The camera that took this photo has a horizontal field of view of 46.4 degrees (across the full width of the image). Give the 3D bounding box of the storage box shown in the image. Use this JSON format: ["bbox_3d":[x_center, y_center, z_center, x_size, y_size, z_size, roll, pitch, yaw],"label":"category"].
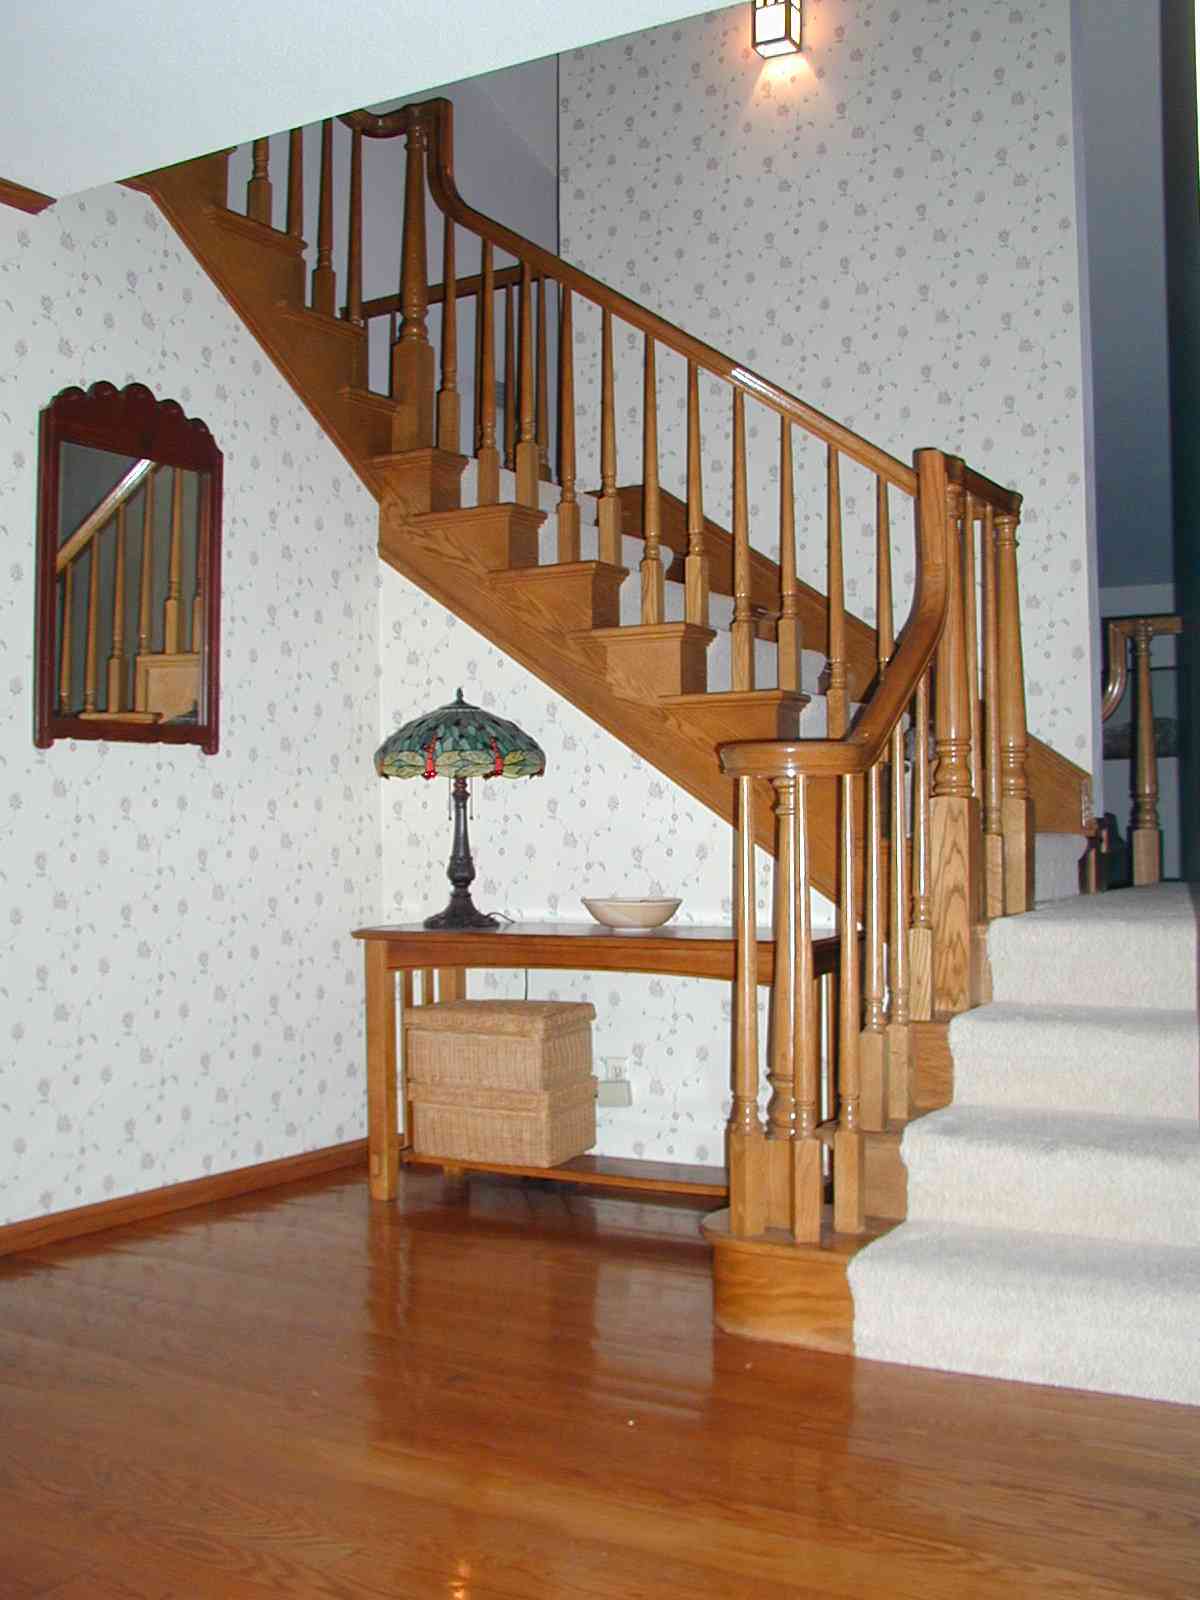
[{"bbox_3d":[-0.256,0.669,3.713,0.441,0.437,0.389,-1,-2,28],"label":"storage box"}]

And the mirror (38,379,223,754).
[{"bbox_3d":[-1.167,-0.575,3.503,0.058,0.930,0.573,-2,-4,28],"label":"mirror"}]

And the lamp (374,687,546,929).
[{"bbox_3d":[-0.344,0.030,3.911,0.430,0.656,0.608,-1,-4,11],"label":"lamp"}]
